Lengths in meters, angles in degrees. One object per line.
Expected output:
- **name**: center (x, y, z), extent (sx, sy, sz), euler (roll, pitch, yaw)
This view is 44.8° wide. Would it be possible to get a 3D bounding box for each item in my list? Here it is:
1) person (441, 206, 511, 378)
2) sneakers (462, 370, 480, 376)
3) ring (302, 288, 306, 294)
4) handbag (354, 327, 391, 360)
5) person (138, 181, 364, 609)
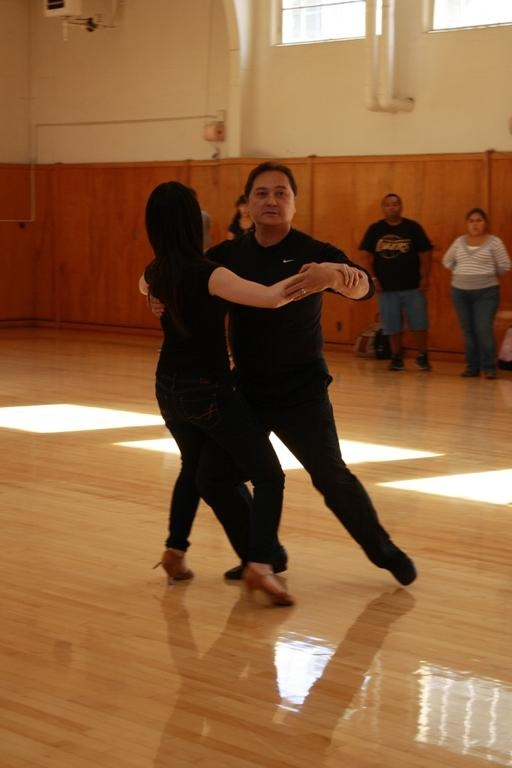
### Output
- **person**: center (2.600, -1.072, 7.372), extent (0.711, 1.969, 0.424), euler (3, 6, 24)
- **sneakers**: center (2.569, -0.137, 7.419), extent (0.220, 0.090, 0.079), euler (-2, 2, -16)
- **ring**: center (0.126, -0.252, 1.666), extent (0.014, 0.014, 0.009), euler (0, 6, -8)
- **handbag**: center (1.596, -0.567, 8.679), extent (0.353, 0.473, 0.495), euler (2, -7, 40)
- **person**: center (-0.159, 0.073, 1.979), extent (0.372, 1.394, 0.714), euler (-1, 6, -14)
